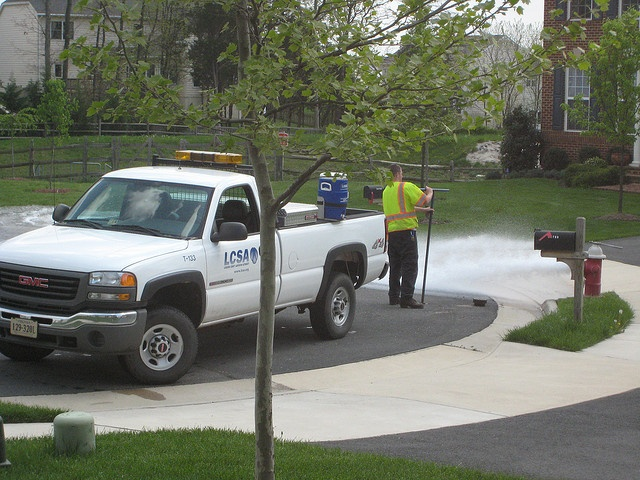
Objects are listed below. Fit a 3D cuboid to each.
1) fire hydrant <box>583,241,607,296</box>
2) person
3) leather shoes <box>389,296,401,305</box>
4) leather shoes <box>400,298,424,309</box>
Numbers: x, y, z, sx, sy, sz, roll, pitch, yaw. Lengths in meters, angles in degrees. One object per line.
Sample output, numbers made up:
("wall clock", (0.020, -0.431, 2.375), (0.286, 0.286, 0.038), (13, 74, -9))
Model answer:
("fire hydrant", (4.011, 0.475, 12.735), (0.261, 0.794, 0.680), (4, 9, 17))
("person", (1.316, -0.065, 13.543), (0.769, 2.238, 0.921), (-3, 10, -24))
("leather shoes", (1.167, 0.987, 13.697), (0.100, 0.090, 0.127), (0, -1, 23))
("leather shoes", (1.398, 0.994, 13.319), (0.384, 0.175, 0.142), (-3, -2, 11))
